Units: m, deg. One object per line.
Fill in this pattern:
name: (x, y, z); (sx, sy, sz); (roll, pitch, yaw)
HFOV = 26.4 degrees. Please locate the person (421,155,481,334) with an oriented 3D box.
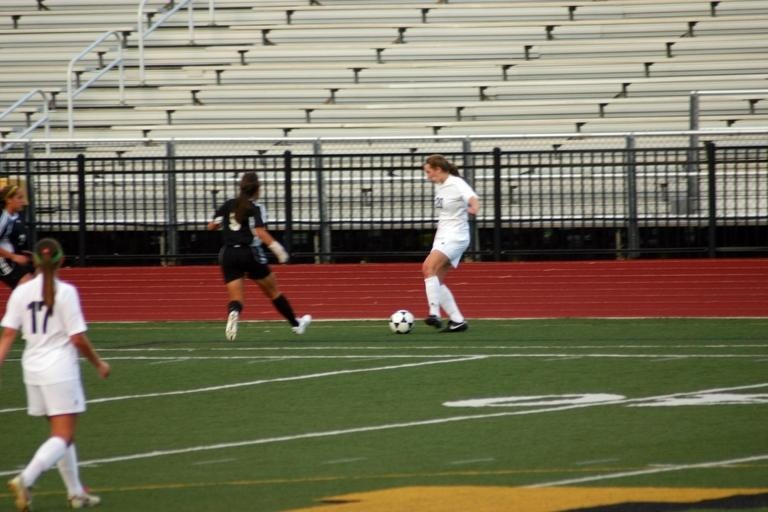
person: (1.091, -0.240, 28.403); (0.758, 3.050, 0.735); (1, -1, 2)

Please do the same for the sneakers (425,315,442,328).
sneakers: (0.886, 1.105, 28.375); (0.404, 0.141, 0.139); (12, 6, -32)

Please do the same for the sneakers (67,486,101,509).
sneakers: (-4.183, 3.377, 23.023); (0.485, 0.236, 0.213); (-5, 10, -16)

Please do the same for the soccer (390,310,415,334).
soccer: (0.376, 1.136, 28.722); (0.508, 0.359, 0.414); (0, 2, 4)

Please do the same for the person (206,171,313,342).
person: (-2.132, -0.040, 27.910); (1.361, 2.863, 0.829); (1, -1, -31)

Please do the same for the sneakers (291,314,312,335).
sneakers: (-1.383, 1.156, 28.494); (0.505, 0.208, 0.175); (-36, 16, 15)

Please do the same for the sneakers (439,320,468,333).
sneakers: (1.257, 1.208, 28.754); (0.538, 0.182, 0.165); (-1, 5, -3)
